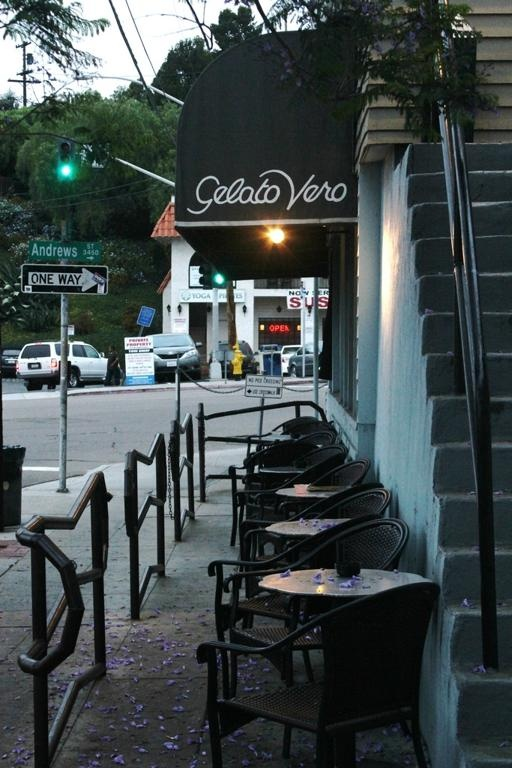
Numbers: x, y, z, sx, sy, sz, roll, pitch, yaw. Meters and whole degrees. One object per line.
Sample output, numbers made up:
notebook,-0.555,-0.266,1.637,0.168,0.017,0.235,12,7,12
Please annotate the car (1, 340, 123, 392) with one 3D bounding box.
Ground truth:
car,-6.444,-0.549,31.402,1.726,1.660,3.663,3,8,32

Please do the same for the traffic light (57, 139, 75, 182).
traffic light,-2.151,-2.525,10.868,0.175,0.414,0.345,1,1,-2

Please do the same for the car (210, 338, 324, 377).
car,0.364,-1.055,39.726,3.727,1.520,6.579,1,1,-1

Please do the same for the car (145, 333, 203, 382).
car,-2.871,-1.093,33.672,1.721,1.532,3.113,-1,-5,-1

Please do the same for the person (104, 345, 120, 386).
person,-4.778,-0.602,31.998,0.507,1.272,1.929,1,1,-9
